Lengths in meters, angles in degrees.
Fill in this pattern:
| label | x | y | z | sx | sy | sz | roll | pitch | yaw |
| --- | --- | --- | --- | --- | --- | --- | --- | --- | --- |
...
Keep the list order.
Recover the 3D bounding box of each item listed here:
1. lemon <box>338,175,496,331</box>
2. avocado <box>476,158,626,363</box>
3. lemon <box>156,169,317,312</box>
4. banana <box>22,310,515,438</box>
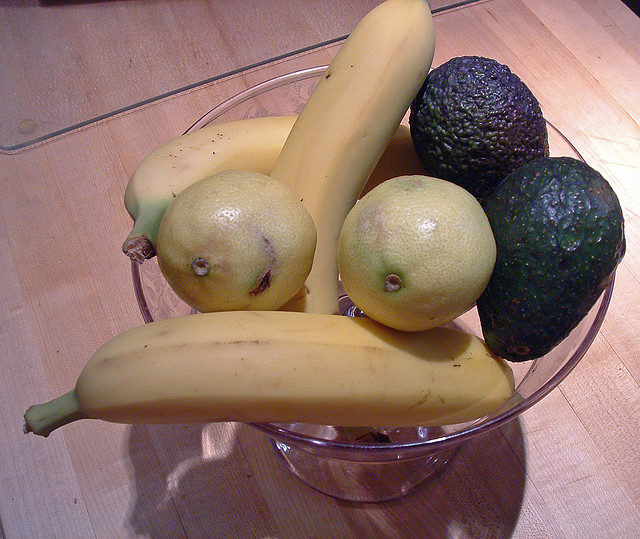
| label | x | y | z | sx | sy | sz | roll | pitch | yaw |
| --- | --- | --- | --- | --- | --- | --- | --- | --- | --- |
| lemon | 0.115 | -0.015 | 0.757 | 0.178 | 0.186 | 0.206 | 16 | 84 | -20 |
| avocado | 0.266 | -0.019 | 0.793 | 0.122 | 0.162 | 0.237 | 20 | 87 | 41 |
| lemon | -0.097 | -0.026 | 0.731 | 0.175 | 0.117 | 0.158 | 20 | 65 | 7 |
| banana | -0.038 | 0.113 | 0.742 | 0.582 | 0.170 | 0.155 | 1 | 53 | -18 |
